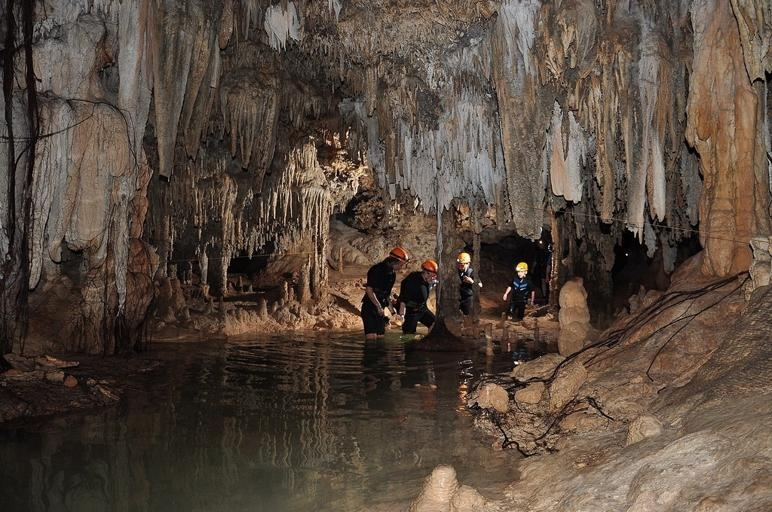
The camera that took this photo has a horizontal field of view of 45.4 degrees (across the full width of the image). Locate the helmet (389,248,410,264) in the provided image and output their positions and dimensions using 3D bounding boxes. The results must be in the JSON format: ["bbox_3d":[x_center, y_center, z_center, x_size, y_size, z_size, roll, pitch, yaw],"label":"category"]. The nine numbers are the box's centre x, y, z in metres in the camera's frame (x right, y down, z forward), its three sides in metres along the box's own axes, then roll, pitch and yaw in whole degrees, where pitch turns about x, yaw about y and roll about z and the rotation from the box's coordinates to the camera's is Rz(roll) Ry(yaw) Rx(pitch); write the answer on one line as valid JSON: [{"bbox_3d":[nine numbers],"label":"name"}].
[{"bbox_3d":[0.216,-0.018,15.433,0.264,0.248,0.271,1,9,7],"label":"helmet"}]

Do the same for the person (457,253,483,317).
[{"bbox_3d":[1.566,0.538,17.195,0.380,1.203,1.283,1,9,6],"label":"person"}]

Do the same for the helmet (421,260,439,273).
[{"bbox_3d":[0.772,0.155,15.734,0.222,0.127,0.179,7,23,-7],"label":"helmet"}]

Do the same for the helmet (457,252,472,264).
[{"bbox_3d":[1.496,0.020,17.383,0.185,0.144,0.264,2,1,-1],"label":"helmet"}]

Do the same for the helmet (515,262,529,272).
[{"bbox_3d":[2.877,0.196,19.551,0.204,0.155,0.276,1,-5,27],"label":"helmet"}]
